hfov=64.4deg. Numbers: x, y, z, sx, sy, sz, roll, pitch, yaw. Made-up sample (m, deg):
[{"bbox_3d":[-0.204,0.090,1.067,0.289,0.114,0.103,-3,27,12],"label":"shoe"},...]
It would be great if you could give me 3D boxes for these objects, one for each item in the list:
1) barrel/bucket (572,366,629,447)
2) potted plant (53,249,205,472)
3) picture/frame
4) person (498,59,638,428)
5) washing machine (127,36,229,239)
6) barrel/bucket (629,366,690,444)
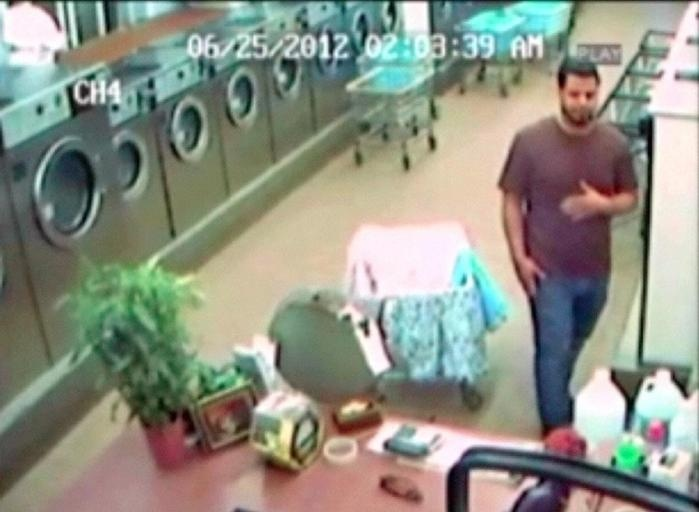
[{"bbox_3d":[0.768,0.448,1.684,0.120,0.220,0.123,-4,38,3],"label":"barrel/bucket"},{"bbox_3d":[-0.701,0.328,1.874,0.387,0.578,0.350,-5,-9,-44],"label":"potted plant"},{"bbox_3d":[-0.410,0.535,1.846,0.212,0.190,0.073,-12,5,13],"label":"picture/frame"},{"bbox_3d":[0.630,-0.071,1.637,0.275,0.950,0.304,-18,31,-28],"label":"person"},{"bbox_3d":[-0.530,-0.394,1.707,0.265,0.617,0.314,-24,33,-24],"label":"washing machine"},{"bbox_3d":[0.926,0.434,1.645,0.110,0.233,0.126,25,53,35],"label":"barrel/bucket"}]
